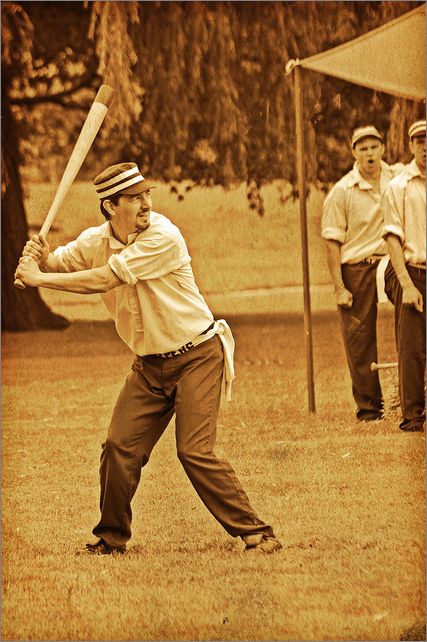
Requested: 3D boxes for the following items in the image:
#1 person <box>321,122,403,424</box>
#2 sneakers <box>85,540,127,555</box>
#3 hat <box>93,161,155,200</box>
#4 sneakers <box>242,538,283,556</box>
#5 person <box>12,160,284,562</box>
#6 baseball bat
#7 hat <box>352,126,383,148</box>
[{"bbox_3d":[0.734,-0.177,6.240,0.455,1.414,0.384,3,24,20],"label":"person"},{"bbox_3d":[-0.399,0.852,5.250,0.143,0.079,0.060,9,-11,-4],"label":"sneakers"},{"bbox_3d":[-0.338,-0.506,5.072,0.148,0.095,0.124,-4,12,4],"label":"hat"},{"bbox_3d":[0.192,0.813,5.146,0.112,0.071,0.055,-4,3,-9],"label":"sneakers"},{"bbox_3d":[-0.271,0.201,5.760,0.971,2.090,0.982,-11,-15,43],"label":"person"},{"bbox_3d":[-0.642,-0.586,5.937,0.088,0.958,0.095,20,2,-18],"label":"baseball bat"},{"bbox_3d":[0.673,-0.809,6.178,0.137,0.090,0.082,-5,9,6],"label":"hat"}]
